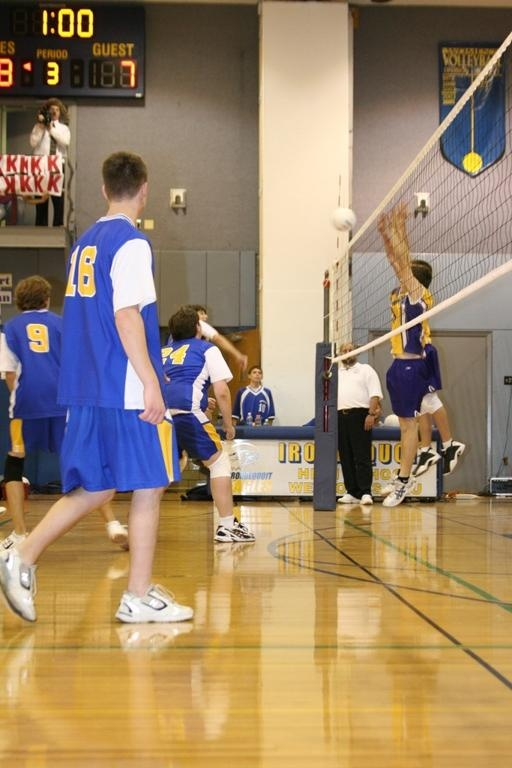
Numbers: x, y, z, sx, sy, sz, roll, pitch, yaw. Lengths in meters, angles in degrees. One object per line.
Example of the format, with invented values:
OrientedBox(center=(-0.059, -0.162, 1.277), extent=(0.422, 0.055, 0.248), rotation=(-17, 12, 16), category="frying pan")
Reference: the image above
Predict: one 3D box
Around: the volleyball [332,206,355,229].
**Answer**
OrientedBox(center=(0.866, -1.643, 8.185), extent=(0.205, 0.245, 0.372), rotation=(1, 2, 5), category="volleyball")

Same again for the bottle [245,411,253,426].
OrientedBox(center=(-0.063, 0.351, 8.201), extent=(0.084, 0.165, 0.088), rotation=(1, -4, 0), category="bottle")

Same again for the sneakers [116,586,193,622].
OrientedBox(center=(-0.308, 0.677, 2.528), extent=(0.232, 0.122, 0.097), rotation=(3, -8, -8), category="sneakers")

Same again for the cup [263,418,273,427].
OrientedBox(center=(0.133, 0.383, 8.111), extent=(0.064, 0.072, 0.069), rotation=(2, -24, 1), category="cup")

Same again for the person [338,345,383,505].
OrientedBox(center=(0.765, 0.297, 6.706), extent=(0.522, 1.305, 0.352), rotation=(-2, -2, 18), category="person")

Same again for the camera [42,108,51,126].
OrientedBox(center=(-2.315, -2.948, 9.143), extent=(0.047, 0.168, 0.118), rotation=(-9, -3, -45), category="camera")

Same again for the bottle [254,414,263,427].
OrientedBox(center=(0.009, 0.362, 8.163), extent=(0.076, 0.144, 0.079), rotation=(0, -6, 0), category="bottle")

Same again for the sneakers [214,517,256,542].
OrientedBox(center=(-0.107, 0.747, 4.182), extent=(0.231, 0.156, 0.086), rotation=(0, -7, -3), category="sneakers")

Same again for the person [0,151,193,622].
OrientedBox(center=(-0.460, -0.007, 2.479), extent=(0.553, 1.438, 0.344), rotation=(0, 2, -6), category="person")

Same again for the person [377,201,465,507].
OrientedBox(center=(1.164, -0.207, 6.002), extent=(0.555, 2.379, 1.542), rotation=(1, 2, 9), category="person")
